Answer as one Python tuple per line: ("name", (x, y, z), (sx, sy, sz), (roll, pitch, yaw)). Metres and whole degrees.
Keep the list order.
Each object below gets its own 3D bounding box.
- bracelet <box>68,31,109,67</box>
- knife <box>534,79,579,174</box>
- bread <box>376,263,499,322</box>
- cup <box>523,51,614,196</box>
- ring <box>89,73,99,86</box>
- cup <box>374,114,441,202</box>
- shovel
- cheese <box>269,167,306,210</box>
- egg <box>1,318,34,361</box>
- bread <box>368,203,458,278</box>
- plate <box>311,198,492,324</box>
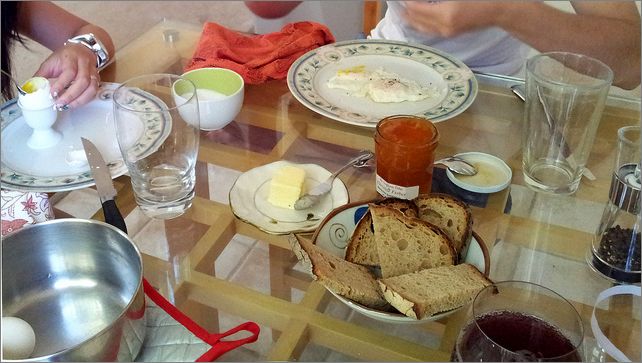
("bracelet", (-0.739, -0.441, 1.474), (0.135, 0.100, 0.058), (42, 57, 6))
("knife", (0.590, -0.141, 1.110), (0.031, 0.262, 0.029), (-26, 10, 31))
("bread", (0.225, 0.208, 0.879), (0.187, 0.041, 0.099), (-11, 35, -22))
("cup", (0.603, -0.140, 1.118), (0.157, 0.466, 0.183), (5, 4, 38))
("ring", (-0.673, -0.301, 1.316), (0.036, 0.024, 0.034), (5, 37, -4))
("cup", (0.205, -0.050, 1.108), (0.135, 0.214, 0.117), (14, 39, 16))
("shovel", (0.040, -0.004, 1.134), (0.252, 0.029, 0.044), (-36, 15, -2))
("cheese", (-0.087, 0.028, 1.121), (0.077, 0.099, 0.086), (13, 31, 33))
("egg", (-0.556, 0.287, 0.825), (0.059, 0.068, 0.067), (3, -3, -4))
("bread", (0.193, 0.138, 0.946), (0.151, 0.038, 0.158), (-23, 72, -5))
("plate", (0.133, 0.110, 0.865), (0.296, 0.068, 0.296), (-26, 47, -27))
